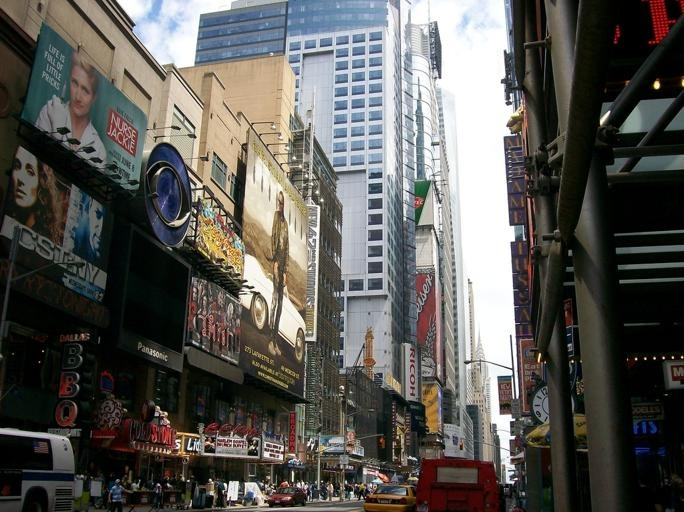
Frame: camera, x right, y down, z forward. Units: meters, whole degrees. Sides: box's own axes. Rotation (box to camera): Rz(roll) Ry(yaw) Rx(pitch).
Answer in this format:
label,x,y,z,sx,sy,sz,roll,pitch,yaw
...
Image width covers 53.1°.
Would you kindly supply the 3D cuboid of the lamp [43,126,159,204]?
label,x,y,z,sx,sy,sz,roll,pitch,yaw
lamp,-14.271,-5.489,40.028,1.102,2.946,4.893,-5,-5,20
